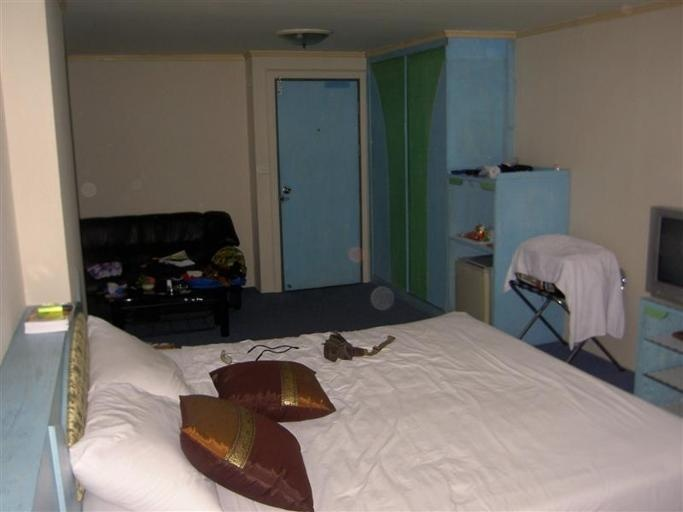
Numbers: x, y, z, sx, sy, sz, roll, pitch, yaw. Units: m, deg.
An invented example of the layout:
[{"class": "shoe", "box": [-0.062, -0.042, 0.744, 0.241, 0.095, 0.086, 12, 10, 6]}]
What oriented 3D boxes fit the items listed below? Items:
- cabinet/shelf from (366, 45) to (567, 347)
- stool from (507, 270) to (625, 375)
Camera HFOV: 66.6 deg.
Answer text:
[{"class": "cabinet/shelf", "box": [1.277, -0.629, 5.066, 0.848, 2.778, 2.830, -4, 11, -20]}, {"class": "stool", "box": [1.885, 0.407, 4.471, 0.788, 0.828, 0.909, 0, 14, -7]}]
